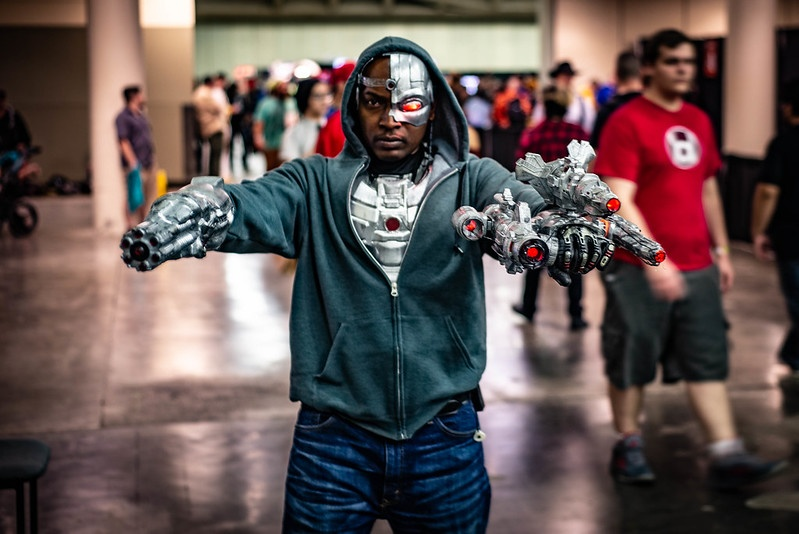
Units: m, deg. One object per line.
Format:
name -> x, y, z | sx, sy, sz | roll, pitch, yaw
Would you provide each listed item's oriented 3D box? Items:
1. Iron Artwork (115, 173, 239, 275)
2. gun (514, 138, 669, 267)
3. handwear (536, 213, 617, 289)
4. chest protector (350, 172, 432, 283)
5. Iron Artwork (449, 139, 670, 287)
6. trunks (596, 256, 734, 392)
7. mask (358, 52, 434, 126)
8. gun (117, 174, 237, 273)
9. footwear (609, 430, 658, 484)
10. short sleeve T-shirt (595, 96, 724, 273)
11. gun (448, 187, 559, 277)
Iron Artwork -> -0.672, -0.122, 2.393 | 0.255, 0.225, 0.487 | 11, 23, 7
gun -> 0.604, -0.227, 2.507 | 0.314, 0.202, 0.503 | -11, 39, -39
handwear -> 0.553, -0.066, 2.467 | 0.228, 0.117, 0.215 | -8, 17, -42
chest protector -> -0.033, -0.118, 2.719 | 0.344, 0.511, 0.184 | 1, -18, -3
Iron Artwork -> 0.548, -0.178, 2.549 | 0.708, 0.405, 0.416 | -4, 24, -21
trunks -> 1.468, 0.309, 4.236 | 0.738, 0.737, 0.418 | -1, -2, -2
mask -> 0.026, -0.612, 2.812 | 0.263, 0.232, 0.230 | -6, -6, 29
gun -> -0.667, -0.124, 2.389 | 0.259, 0.218, 0.462 | 12, 25, 7
footwear -> 1.313, 1.076, 4.388 | 0.190, 0.235, 0.517 | 1, -2, 7
short sleeve T-shirt -> 1.291, -0.423, 3.801 | 0.742, 0.845, 0.455 | -8, 20, -17
gun -> 0.320, -0.148, 2.486 | 0.245, 0.198, 0.304 | 11, 15, -20
